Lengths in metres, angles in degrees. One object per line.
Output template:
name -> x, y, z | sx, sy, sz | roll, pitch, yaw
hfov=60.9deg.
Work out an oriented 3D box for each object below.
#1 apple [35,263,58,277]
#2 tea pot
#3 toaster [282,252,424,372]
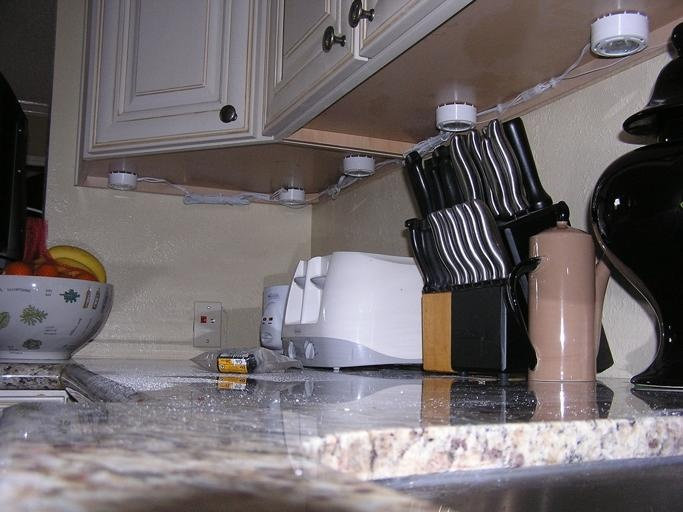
apple -> -0.646, 0.034, 1.278 | 0.033, 0.036, 0.035 | -1, -2, 6
tea pot -> 0.344, 0.059, 0.899 | 0.184, 0.269, 0.159 | 3, -9, 0
toaster -> 0.026, 0.140, 1.300 | 0.288, 0.235, 0.336 | 10, -13, -40
